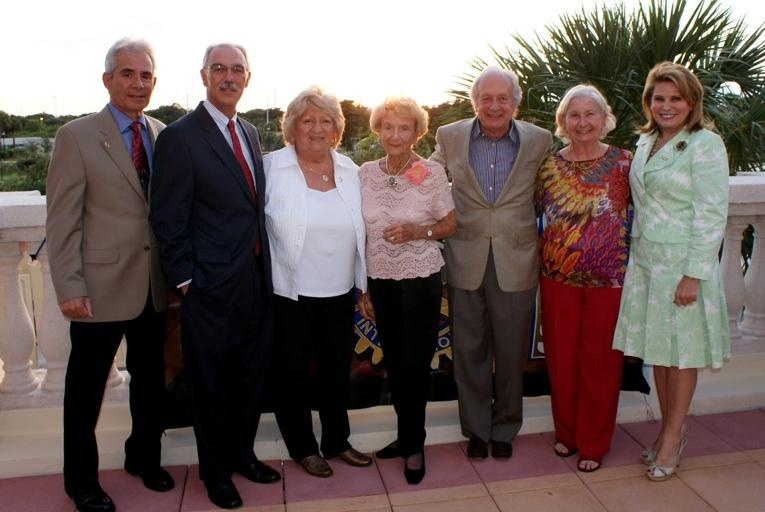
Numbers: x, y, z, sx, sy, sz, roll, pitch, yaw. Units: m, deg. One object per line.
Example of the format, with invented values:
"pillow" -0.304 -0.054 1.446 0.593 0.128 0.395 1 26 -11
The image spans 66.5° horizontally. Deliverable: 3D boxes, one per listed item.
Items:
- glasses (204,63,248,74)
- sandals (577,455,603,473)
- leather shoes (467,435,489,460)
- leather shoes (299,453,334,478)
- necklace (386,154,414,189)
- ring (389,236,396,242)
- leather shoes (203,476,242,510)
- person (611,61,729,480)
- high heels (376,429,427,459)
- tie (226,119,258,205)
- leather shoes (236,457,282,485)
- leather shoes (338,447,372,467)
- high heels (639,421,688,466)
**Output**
"glasses" -0.949 -1.138 3.544 0.233 0.057 0.060 -7 14 -13
"sandals" 1.392 1.380 3.908 0.184 0.072 0.077 -5 14 -8
"leather shoes" 0.659 1.328 4.039 0.080 0.086 0.208 0 0 -1
"leather shoes" -0.432 1.384 3.873 0.114 0.084 0.218 -10 11 -41
"necklace" 0.094 -0.546 3.744 0.152 0.203 0.061 2 -4 12
"ring" 0.062 -0.113 3.674 0.034 0.032 0.010 -1 -3 11
"leather shoes" -1.005 1.451 3.671 0.116 0.123 0.292 -5 9 -40
"person" 1.877 -0.248 3.722 0.668 1.887 0.493 4 16 30
"high heels" 0.079 1.290 4.015 0.439 0.178 0.135 -14 45 36
"tie" -0.868 -0.596 3.612 0.100 0.682 0.052 -16 -25 -13
"leather shoes" -0.804 1.398 3.811 0.357 0.117 0.129 6 20 26
"leather shoes" -0.185 1.368 4.021 0.250 0.099 0.100 1 9 27
"high heels" 1.900 1.318 3.983 0.116 0.429 0.171 15 18 -9
